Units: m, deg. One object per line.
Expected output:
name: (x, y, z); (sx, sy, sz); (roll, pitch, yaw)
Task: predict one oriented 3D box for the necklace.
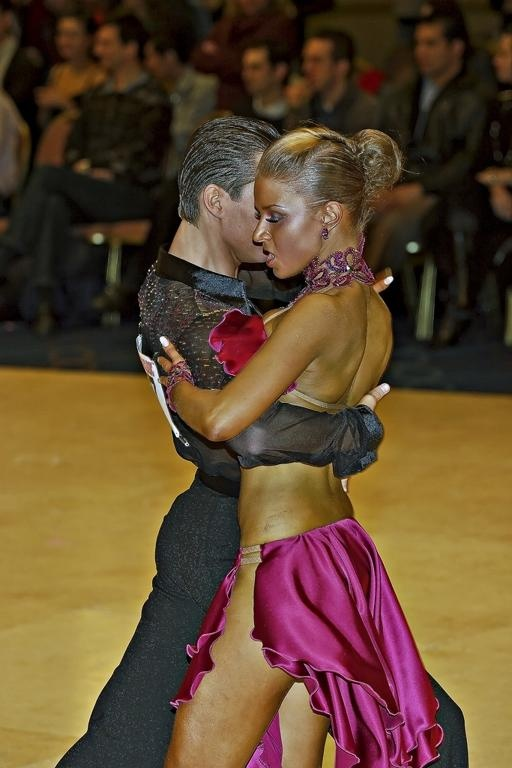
necklace: (0.124, -0.207, 1.073); (0.143, 0.046, 0.200); (11, 18, -5)
